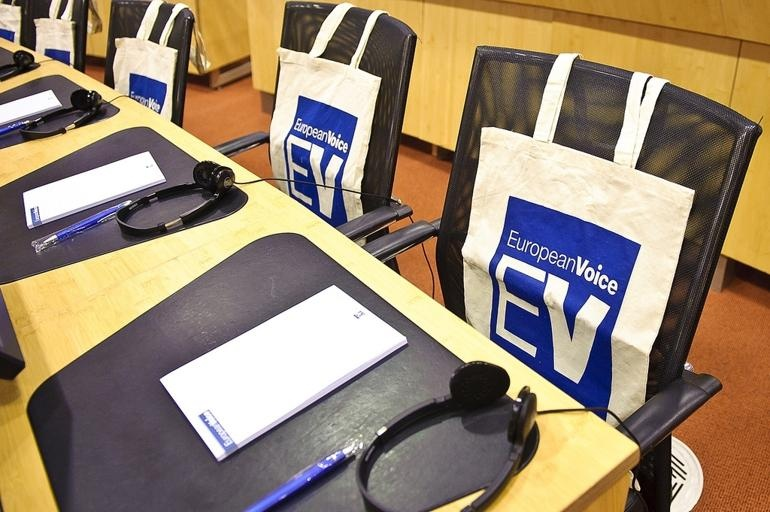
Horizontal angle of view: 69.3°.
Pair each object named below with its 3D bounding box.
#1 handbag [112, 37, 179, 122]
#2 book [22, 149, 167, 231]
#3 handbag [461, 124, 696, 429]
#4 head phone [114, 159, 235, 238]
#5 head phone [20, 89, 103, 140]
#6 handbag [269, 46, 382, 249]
[{"bbox_3d":[-0.921,-0.694,2.169,0.306,0.436,0.146,14,18,27],"label":"handbag"},{"bbox_3d":[-0.827,-0.159,1.655,0.381,0.028,0.200,-24,45,-23],"label":"book"},{"bbox_3d":[0.433,0.041,1.196,0.218,0.594,0.467,-26,39,-33],"label":"handbag"},{"bbox_3d":[-0.555,-0.149,1.512,0.278,0.093,0.192,-30,42,-26],"label":"head phone"},{"bbox_3d":[-1.132,-0.495,1.967,0.165,0.085,0.245,28,48,35],"label":"head phone"},{"bbox_3d":[-0.167,-0.343,1.703,0.462,0.650,0.119,23,24,37],"label":"handbag"}]
